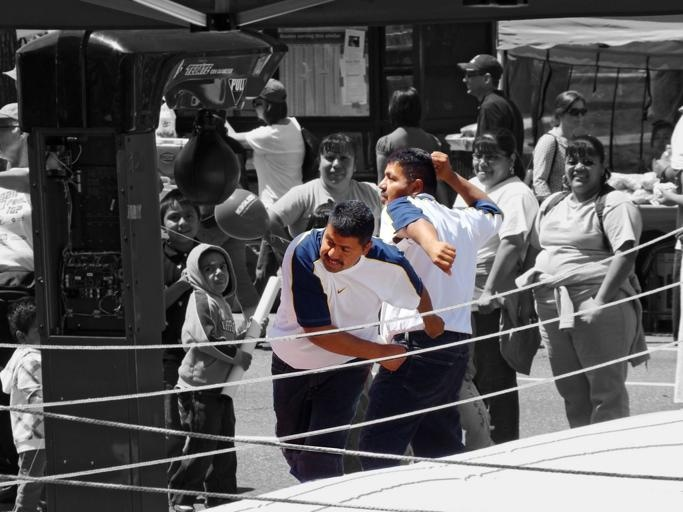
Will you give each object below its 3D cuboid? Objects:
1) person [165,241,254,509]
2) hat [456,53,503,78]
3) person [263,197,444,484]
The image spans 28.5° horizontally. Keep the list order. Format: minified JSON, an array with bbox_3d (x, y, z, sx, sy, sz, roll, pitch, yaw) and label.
[{"bbox_3d":[-0.794,0.764,8.250,0.495,1.612,0.754,0,5,-7],"label":"person"},{"bbox_3d":[1.270,-1.685,12.107,0.465,0.201,0.270,4,7,-6],"label":"hat"},{"bbox_3d":[0.076,0.495,7.521,0.944,1.602,0.612,0,5,0],"label":"person"}]
